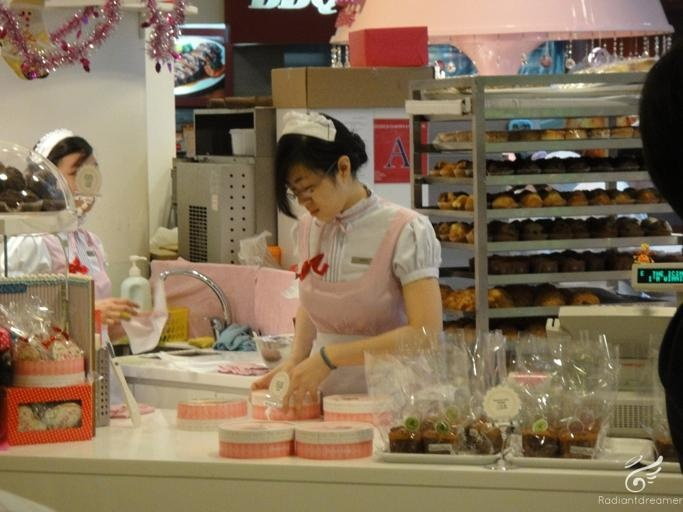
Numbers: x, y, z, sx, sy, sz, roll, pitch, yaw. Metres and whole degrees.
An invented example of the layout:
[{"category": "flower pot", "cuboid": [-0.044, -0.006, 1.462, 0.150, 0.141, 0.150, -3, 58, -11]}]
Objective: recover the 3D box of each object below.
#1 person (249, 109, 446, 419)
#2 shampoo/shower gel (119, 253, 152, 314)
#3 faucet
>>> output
[{"category": "person", "cuboid": [0.061, -0.002, 2.938, 0.539, 1.361, 0.626, 3, 14, 14]}, {"category": "shampoo/shower gel", "cuboid": [-1.226, 0.164, 4.489, 0.131, 0.295, 0.154, -10, 17, -36]}, {"category": "faucet", "cuboid": [-0.909, 0.252, 4.754, 0.327, 0.455, 0.261, 9, 15, 31]}]
